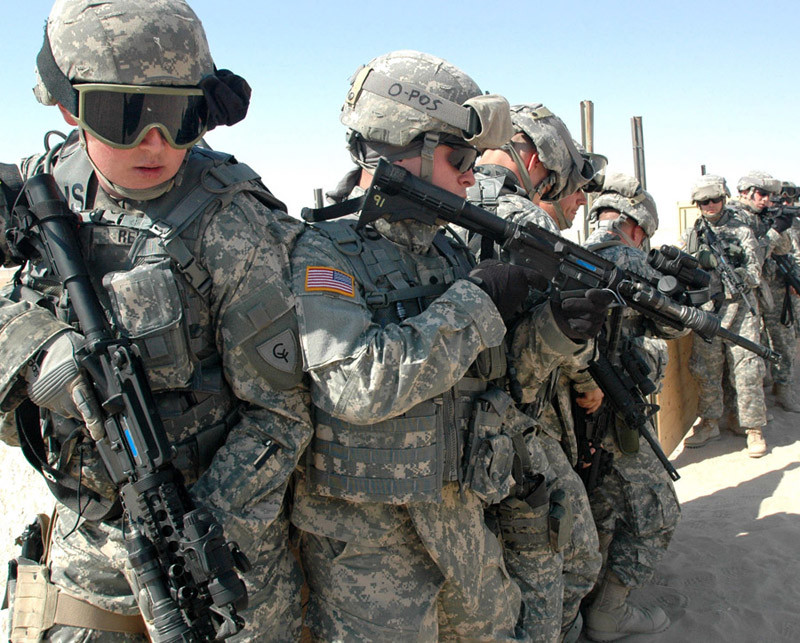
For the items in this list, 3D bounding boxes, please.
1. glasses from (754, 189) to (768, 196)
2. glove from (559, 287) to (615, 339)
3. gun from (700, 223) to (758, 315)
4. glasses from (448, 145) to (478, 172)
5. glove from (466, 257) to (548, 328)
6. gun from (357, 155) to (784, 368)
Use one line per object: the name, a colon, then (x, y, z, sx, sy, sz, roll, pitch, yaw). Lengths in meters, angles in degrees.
glasses: (5.082, -1.806, 11.026, 0.097, 0.029, 0.099, 13, -21, 26)
glove: (0.855, -0.041, 3.610, 0.198, 0.261, 0.114, 25, 13, -2)
gun: (3.667, -0.578, 8.708, 0.235, 1.102, 0.403, -29, -36, 23)
glasses: (0.289, -0.755, 3.632, 0.102, 0.084, 0.120, 3, 5, -9)
glove: (0.484, -0.147, 3.497, 0.424, 0.259, 0.176, -3, 2, -34)
gun: (0.888, -0.154, 3.752, 2.288, 0.764, 0.295, 23, -25, -7)
